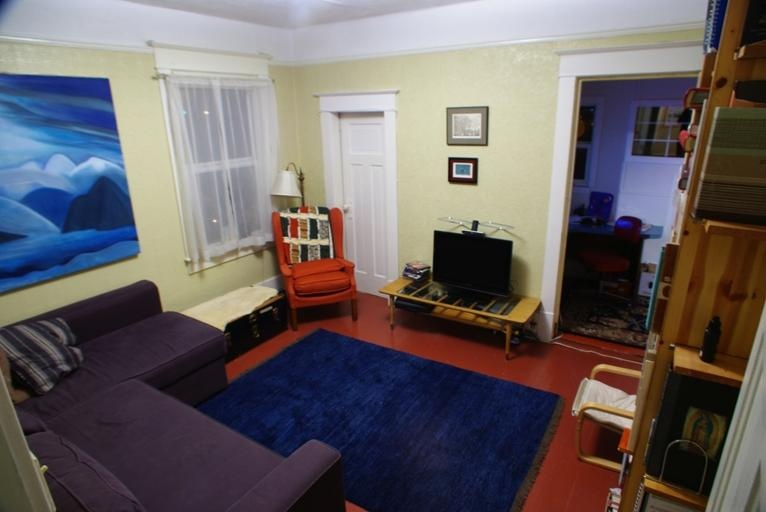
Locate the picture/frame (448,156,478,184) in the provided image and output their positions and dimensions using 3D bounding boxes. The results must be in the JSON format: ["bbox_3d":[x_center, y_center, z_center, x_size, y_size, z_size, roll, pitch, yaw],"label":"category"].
[{"bbox_3d":[0.805,-0.864,5.029,0.274,0.231,0.022,9,19,29],"label":"picture/frame"}]

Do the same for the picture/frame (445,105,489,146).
[{"bbox_3d":[0.832,-1.282,4.905,0.424,0.360,0.029,5,15,26],"label":"picture/frame"}]

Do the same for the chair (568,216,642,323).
[{"bbox_3d":[2.597,0.174,5.845,1.128,0.758,0.582,-6,13,-24],"label":"chair"}]

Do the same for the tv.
[{"bbox_3d":[0.922,0.104,5.032,0.680,0.480,0.196,9,25,30],"label":"tv"}]

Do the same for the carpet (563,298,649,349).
[{"bbox_3d":[2.335,0.686,5.357,0.737,0.030,0.657,1,15,14],"label":"carpet"}]

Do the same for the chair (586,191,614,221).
[{"bbox_3d":[2.757,-0.659,6.459,0.317,0.438,0.386,12,20,31],"label":"chair"}]

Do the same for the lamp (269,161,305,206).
[{"bbox_3d":[-0.963,-0.858,5.733,0.354,0.485,0.471,0,2,12],"label":"lamp"}]
